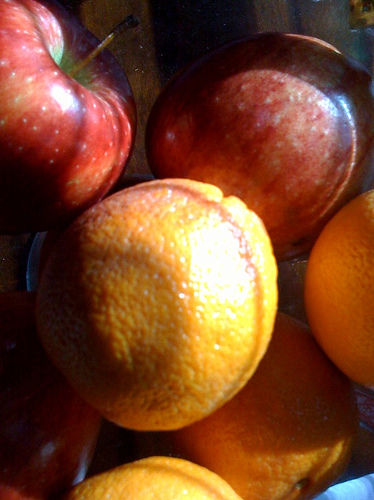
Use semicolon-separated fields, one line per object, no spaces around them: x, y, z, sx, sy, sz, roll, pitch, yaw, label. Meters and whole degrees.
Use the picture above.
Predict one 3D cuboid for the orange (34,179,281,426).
-0.014;0.043;0.418;0.183;0.169;0.195;-5;101;-29;orange
